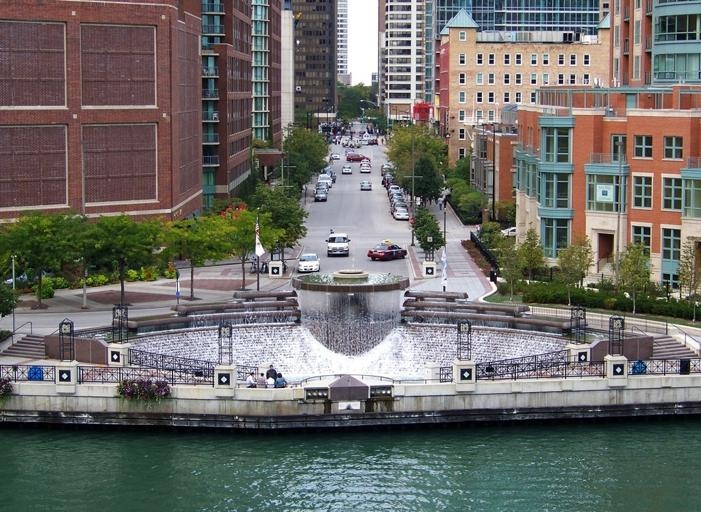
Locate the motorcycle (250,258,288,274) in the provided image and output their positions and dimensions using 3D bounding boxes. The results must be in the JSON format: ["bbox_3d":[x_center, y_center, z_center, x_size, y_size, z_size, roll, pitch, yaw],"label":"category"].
[{"bbox_3d":[-6.868,0.933,136.136,2.534,1.654,1.370,-1,3,13],"label":"motorcycle"}]

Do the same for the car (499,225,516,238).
[{"bbox_3d":[14.204,-2.150,149.762,1.685,0.932,1.188,4,1,-10],"label":"car"}]

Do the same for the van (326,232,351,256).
[{"bbox_3d":[-1.049,-0.966,143.984,1.682,1.591,3.735,-1,-2,0],"label":"van"}]

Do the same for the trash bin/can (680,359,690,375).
[{"bbox_3d":[21.314,7.084,105.658,0.579,1.037,0.311,-3,5,-5],"label":"trash bin/can"}]
